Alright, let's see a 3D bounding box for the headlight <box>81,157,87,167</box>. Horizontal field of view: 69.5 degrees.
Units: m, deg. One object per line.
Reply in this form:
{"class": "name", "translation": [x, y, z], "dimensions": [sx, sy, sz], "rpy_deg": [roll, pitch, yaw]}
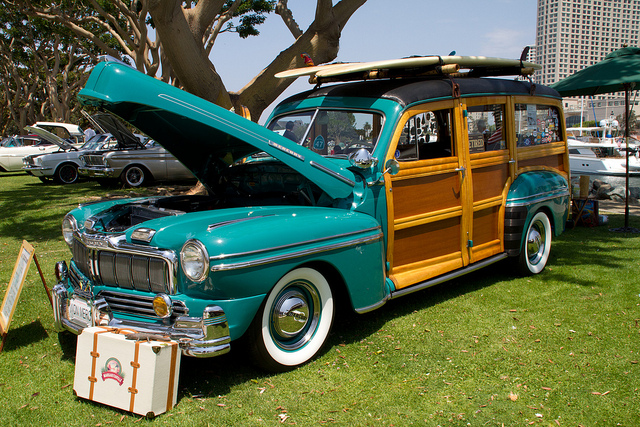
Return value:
{"class": "headlight", "translation": [-8.229, -1.814, 16.181], "dimensions": [0.109, 0.338, 0.540], "rpy_deg": [-9, 9, -32]}

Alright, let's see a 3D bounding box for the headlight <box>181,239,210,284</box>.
{"class": "headlight", "translation": [-1.136, 0.437, 4.242], "dimensions": [0.288, 0.407, 0.086], "rpy_deg": [-2, 8, 18]}

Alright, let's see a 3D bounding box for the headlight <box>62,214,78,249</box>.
{"class": "headlight", "translation": [-2.817, 0.180, 5.199], "dimensions": [0.093, 0.369, 0.373], "rpy_deg": [-7, -27, -34]}

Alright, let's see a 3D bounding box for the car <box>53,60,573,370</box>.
{"class": "car", "translation": [0.209, -0.142, 6.367], "dimensions": [6.465, 2.660, 3.287], "rpy_deg": [-4, 4, -30]}

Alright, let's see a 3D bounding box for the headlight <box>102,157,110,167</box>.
{"class": "headlight", "translation": [-7.136, -1.728, 15.442], "dimensions": [0.242, 0.321, 0.057], "rpy_deg": [-1, 8, 24]}

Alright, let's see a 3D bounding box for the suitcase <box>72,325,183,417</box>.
{"class": "suitcase", "translation": [-1.816, 1.426, 4.352], "dimensions": [0.919, 0.713, 0.337], "rpy_deg": [6, 2, 21]}
